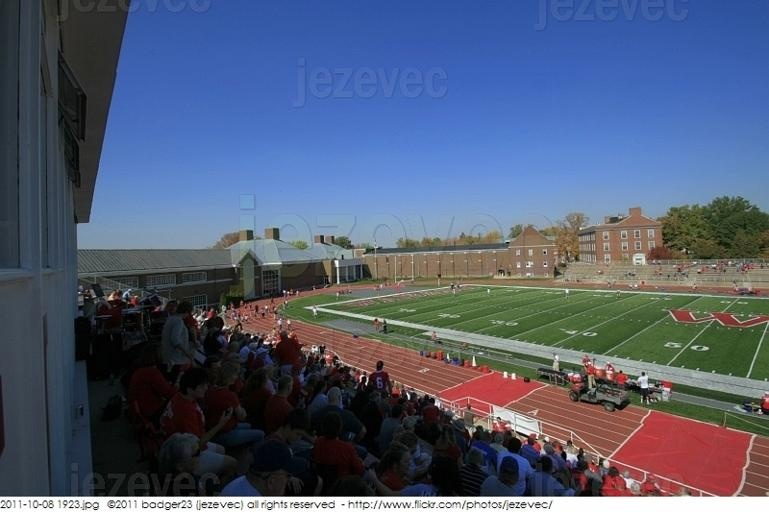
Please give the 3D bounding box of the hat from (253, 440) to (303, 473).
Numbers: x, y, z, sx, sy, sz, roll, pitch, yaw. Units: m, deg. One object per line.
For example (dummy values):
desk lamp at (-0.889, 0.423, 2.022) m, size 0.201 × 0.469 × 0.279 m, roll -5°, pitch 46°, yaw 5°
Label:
hat at (-1.712, 3.357, 8.008) m, size 0.786 × 0.444 × 0.482 m, roll 3°, pitch 1°, yaw -27°

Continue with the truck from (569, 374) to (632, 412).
truck at (9.010, 5.865, 20.540) m, size 1.810 × 1.136 × 1.190 m, roll 5°, pitch 1°, yaw 37°
